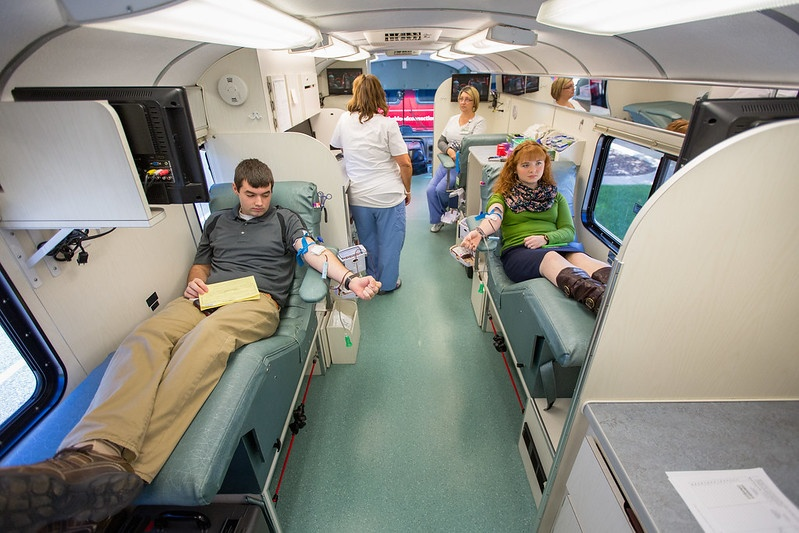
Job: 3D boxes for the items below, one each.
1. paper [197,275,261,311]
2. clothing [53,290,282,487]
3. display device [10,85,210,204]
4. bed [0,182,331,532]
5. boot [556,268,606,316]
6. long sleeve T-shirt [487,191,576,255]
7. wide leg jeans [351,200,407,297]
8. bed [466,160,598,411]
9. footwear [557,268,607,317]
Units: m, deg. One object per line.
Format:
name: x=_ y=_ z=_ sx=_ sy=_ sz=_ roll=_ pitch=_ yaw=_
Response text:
paper: x=-1.205 y=0.212 z=3.089 sx=0.335 sy=0.093 sz=0.243 roll=-14 pitch=48 yaw=-6
clothing: x=-1.353 y=0.655 z=2.564 sx=0.588 sy=0.480 sz=1.114 roll=5 pitch=25 yaw=16
display device: x=-1.604 y=-0.696 z=2.484 sx=0.884 sy=0.635 sz=0.102 roll=3 pitch=35 yaw=4
bed: x=-1.258 y=0.627 z=3.213 sx=1.320 sy=1.417 sz=2.246 roll=4 pitch=39 yaw=-2
boot: x=1.208 y=0.135 z=2.885 sx=0.232 sy=0.159 sz=0.410 roll=1 pitch=9 yaw=-7
long sleeve T-shirt: x=1.124 y=-0.433 z=3.691 sx=0.672 sy=0.499 sz=0.370 roll=-4 pitch=12 yaw=7
wide leg jeans: x=-0.207 y=-0.308 z=4.607 sx=0.448 sy=1.039 sz=0.316 roll=6 pitch=19 yaw=21
bed: x=0.495 y=0.068 z=3.503 sx=0.790 sy=1.323 sz=2.189 roll=0 pitch=34 yaw=-1
footwear: x=1.225 y=0.140 z=2.880 sx=0.380 sy=0.153 sz=0.219 roll=26 pitch=44 yaw=13
